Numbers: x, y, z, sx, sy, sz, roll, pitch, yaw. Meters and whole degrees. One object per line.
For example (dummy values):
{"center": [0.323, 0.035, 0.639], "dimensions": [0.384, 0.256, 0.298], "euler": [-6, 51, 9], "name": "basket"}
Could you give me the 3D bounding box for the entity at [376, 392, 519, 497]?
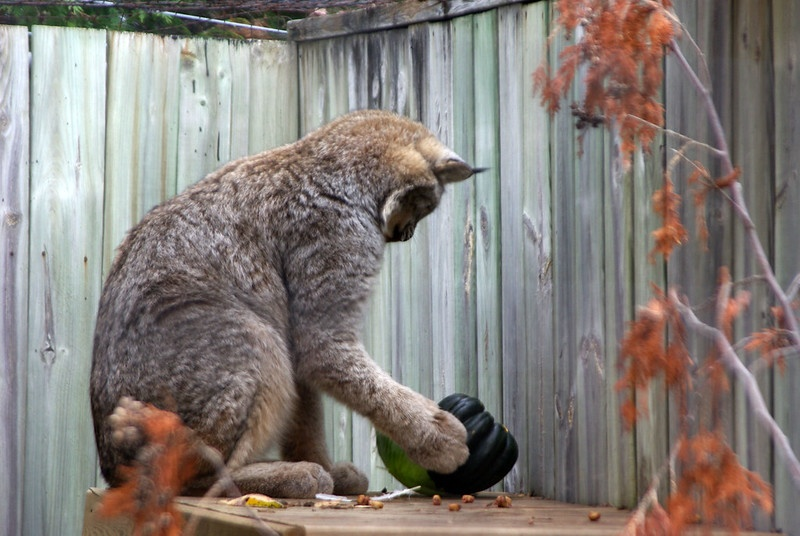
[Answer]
{"center": [0.313, 1.010, 8.165], "dimensions": [0.463, 0.412, 0.567], "euler": [-2, -14, -1], "name": "entity"}
